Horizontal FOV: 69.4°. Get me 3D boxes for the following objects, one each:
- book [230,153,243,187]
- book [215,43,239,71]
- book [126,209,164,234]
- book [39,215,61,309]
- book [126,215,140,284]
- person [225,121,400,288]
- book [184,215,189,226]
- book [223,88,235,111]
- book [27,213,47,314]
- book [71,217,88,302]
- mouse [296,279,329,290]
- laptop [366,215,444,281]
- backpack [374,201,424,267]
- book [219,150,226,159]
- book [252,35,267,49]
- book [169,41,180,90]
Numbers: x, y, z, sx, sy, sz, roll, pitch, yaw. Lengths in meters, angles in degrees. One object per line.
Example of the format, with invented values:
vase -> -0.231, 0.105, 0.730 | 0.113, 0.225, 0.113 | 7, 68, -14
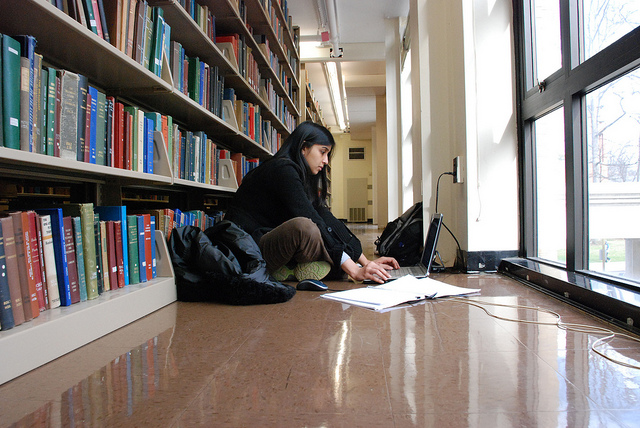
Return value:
book -> -0.691, -0.372, 3.841 | 0.099, 0.243, 0.187 | -9, 15, -32
book -> -0.690, -1.139, 3.403 | 0.132, 0.247, 0.253 | -12, 13, -27
book -> -0.978, 0.034, 2.596 | 0.162, 0.159, 0.120 | 0, -4, 4
book -> -1.095, 0.194, 1.880 | 0.041, 0.371, 0.084 | -7, 14, -24
book -> -0.914, 0.176, 2.269 | 0.040, 0.323, 0.093 | -2, 12, -5
person -> -0.032, -0.129, 2.876 | 0.960, 0.809, 0.720 | 12, 12, 24
book -> -0.819, 0.038, 2.842 | 0.011, 0.041, 0.044 | 5, 5, -3
book -> -0.696, -0.887, 3.535 | 0.074, 0.112, 0.089 | -3, 13, -8
book -> -1.119, 0.194, 1.834 | 0.030, 0.389, 0.068 | -8, 14, -27
book -> -1.023, 0.192, 1.979 | 0.036, 0.350, 0.083 | -6, 13, -23
mouse -> -0.043, 0.405, 2.636 | 0.127, 0.043, 0.073 | -2, -2, 5
laptop -> 0.537, 0.211, 3.031 | 0.517, 0.367, 0.556 | -2, -1, -2
backpack -> 0.662, 0.149, 3.778 | 0.300, 0.548, 0.401 | 14, 1, -11
book -> -0.719, -0.434, 3.437 | 0.067, 0.066, 0.050 | -1, -4, 8
book -> -0.559, -1.558, 4.264 | 0.111, 0.112, 0.122 | -3, 12, -8
book -> -0.857, -0.869, 2.735 | 0.049, 0.263, 0.110 | -2, 13, -3
